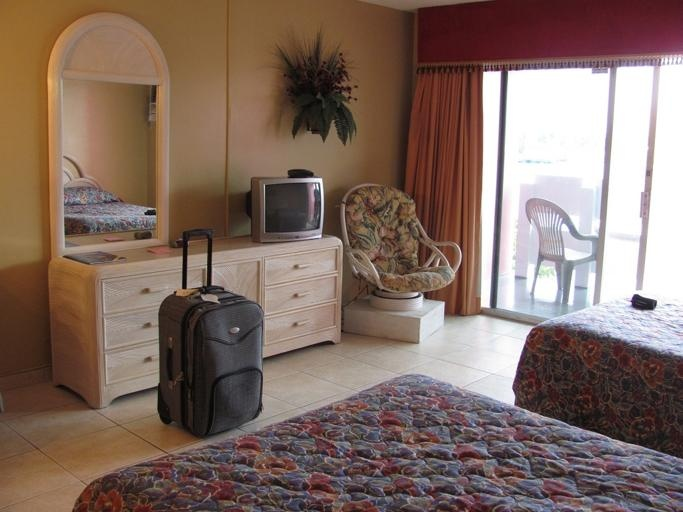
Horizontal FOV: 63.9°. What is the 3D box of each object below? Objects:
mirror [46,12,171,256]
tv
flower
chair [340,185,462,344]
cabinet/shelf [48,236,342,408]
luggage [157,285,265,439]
[{"bbox_3d":[-1.623,-0.849,3.906,0.067,1.704,0.922,17,18,34],"label":"mirror"},{"bbox_3d":[-0.499,-0.392,4.558,0.371,0.504,0.649,9,13,44],"label":"tv"},{"bbox_3d":[-0.180,-1.515,4.971,0.582,0.690,0.610,-7,17,11],"label":"flower"},{"bbox_3d":[0.567,0.052,5.119,1.082,1.289,1.231,8,13,20],"label":"chair"},{"bbox_3d":[-1.021,0.398,4.317,2.132,0.896,0.678,-8,13,-42],"label":"cabinet/shelf"},{"bbox_3d":[-0.768,0.631,3.382,0.582,0.824,0.626,6,10,28],"label":"luggage"}]
